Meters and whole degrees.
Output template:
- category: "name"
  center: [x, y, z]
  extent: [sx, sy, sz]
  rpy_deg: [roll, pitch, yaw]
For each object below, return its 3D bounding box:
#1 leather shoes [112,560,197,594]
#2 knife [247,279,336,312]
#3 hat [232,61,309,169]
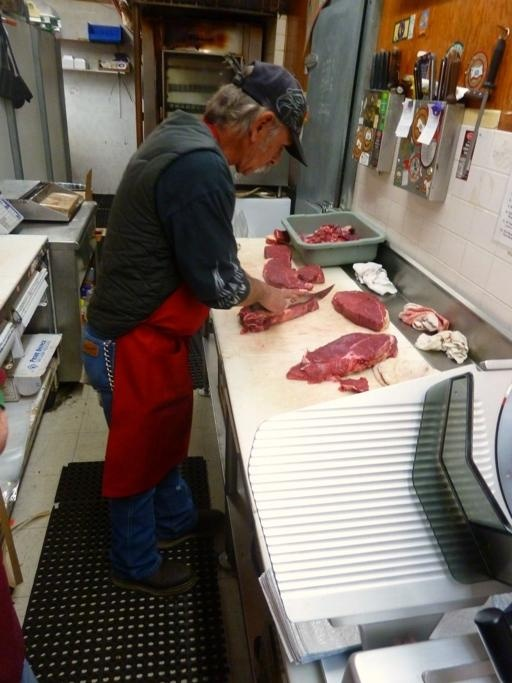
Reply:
- category: "leather shoes"
  center: [-0.371, 0.854, 1.728]
  extent: [0.240, 0.101, 0.141]
  rpy_deg: [0, 16, -9]
- category: "knife"
  center: [0.127, -0.170, 1.799]
  extent: [0.058, 0.115, 0.423]
  rpy_deg: [-5, -3, 40]
- category: "hat"
  center: [0.060, -0.678, 1.408]
  extent: [0.147, 0.265, 0.269]
  rpy_deg: [27, 36, 35]
